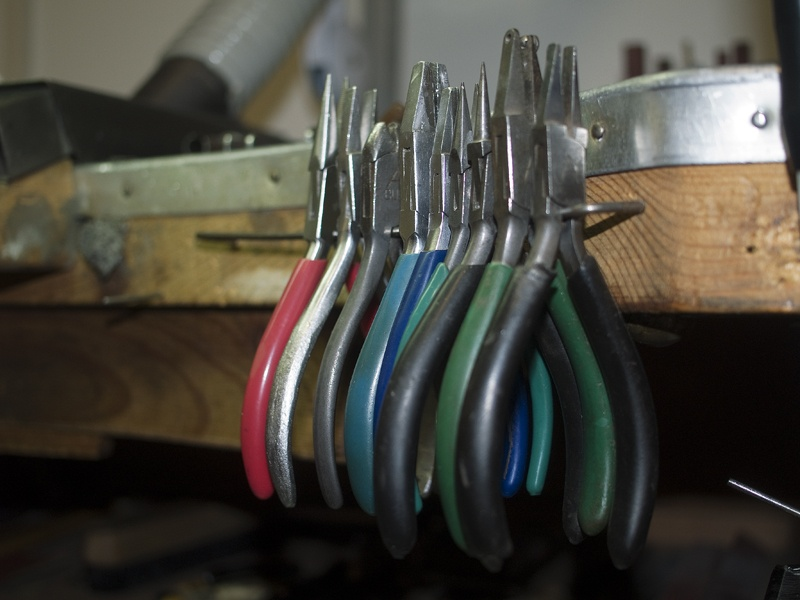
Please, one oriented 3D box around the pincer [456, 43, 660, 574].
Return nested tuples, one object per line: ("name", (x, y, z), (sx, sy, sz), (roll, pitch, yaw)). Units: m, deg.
("pincer", (0.132, 0.011, 0.666), (0.127, 0.417, 0.177), (4, 14, 31))
